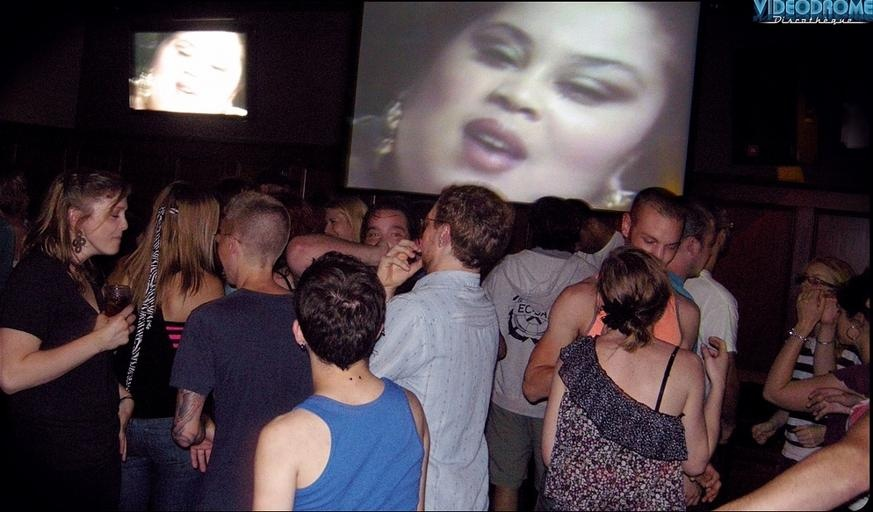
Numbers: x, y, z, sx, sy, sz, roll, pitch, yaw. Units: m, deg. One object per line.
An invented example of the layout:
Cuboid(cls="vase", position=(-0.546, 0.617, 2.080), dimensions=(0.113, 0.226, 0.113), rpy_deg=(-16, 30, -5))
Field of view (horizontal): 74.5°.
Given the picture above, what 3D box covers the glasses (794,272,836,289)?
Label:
Cuboid(cls="glasses", position=(2.603, 0.174, 3.990), dimensions=(0.142, 0.034, 0.133), rpy_deg=(18, -5, -16))
